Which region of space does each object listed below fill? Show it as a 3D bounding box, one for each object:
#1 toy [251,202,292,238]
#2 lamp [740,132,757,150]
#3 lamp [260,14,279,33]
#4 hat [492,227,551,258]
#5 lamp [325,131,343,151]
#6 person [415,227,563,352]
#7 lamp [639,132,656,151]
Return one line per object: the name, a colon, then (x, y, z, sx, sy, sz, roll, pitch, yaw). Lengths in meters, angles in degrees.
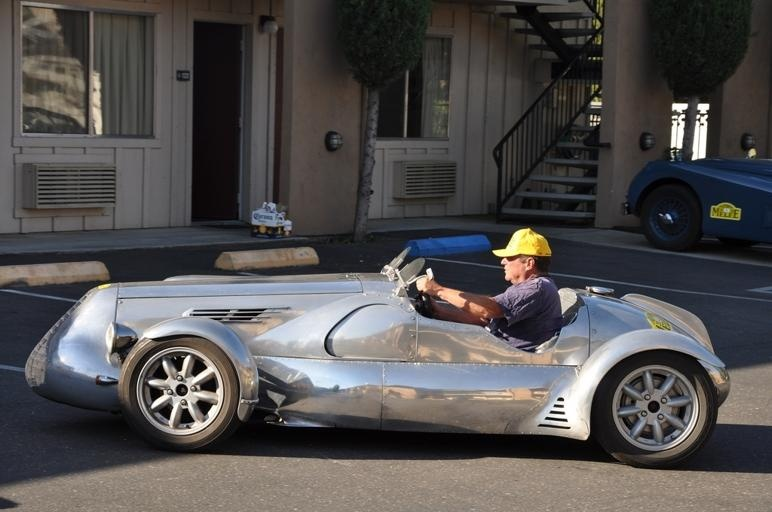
toy: (-2.019, -0.627, 16.004, 0.610, 0.598, 0.621, 0, 0, 18)
lamp: (8.478, -2.704, 21.397, 0.373, 0.425, 0.179, -6, 14, -35)
lamp: (-2.259, -4.403, 17.201, 0.322, 0.336, 0.164, 9, 14, 29)
hat: (1.071, -0.104, 7.136, 0.392, 0.170, 0.263, 3, 0, 2)
lamp: (-0.940, -2.081, 16.409, 0.163, 0.365, 0.380, 13, 16, 41)
person: (0.859, 0.242, 7.278, 1.136, 0.950, 0.942, 0, 0, 3)
lamp: (5.425, -2.425, 19.041, 0.326, 0.415, 0.221, -14, 17, -33)
